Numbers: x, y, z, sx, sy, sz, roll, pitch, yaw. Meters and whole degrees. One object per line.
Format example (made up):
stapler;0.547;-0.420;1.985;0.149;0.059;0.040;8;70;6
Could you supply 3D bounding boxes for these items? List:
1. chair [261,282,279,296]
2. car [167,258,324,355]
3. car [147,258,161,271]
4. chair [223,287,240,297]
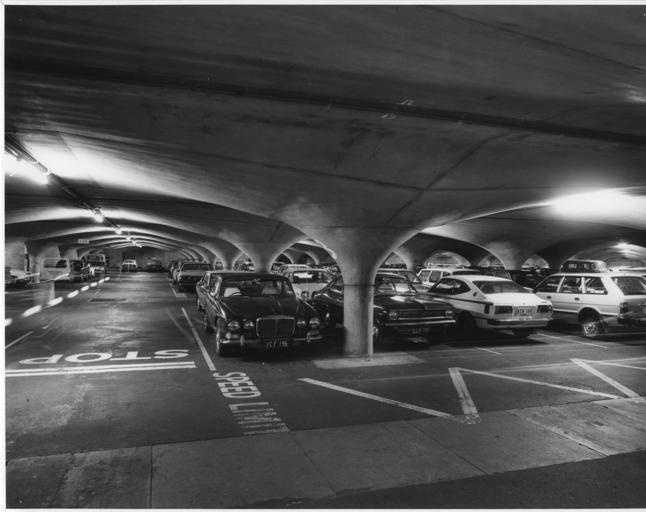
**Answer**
chair;-1.539;0.992;11.989;0.568;0.484;0.299;5;-15;-13
car;-2.798;1.687;14.189;3.144;1.795;6.884;-1;0;-20
car;-28.583;1.629;69.402;1.519;1.942;3.082;1;0;-5
chair;-2.652;1.025;11.896;0.283;0.290;0.284;1;29;-15
